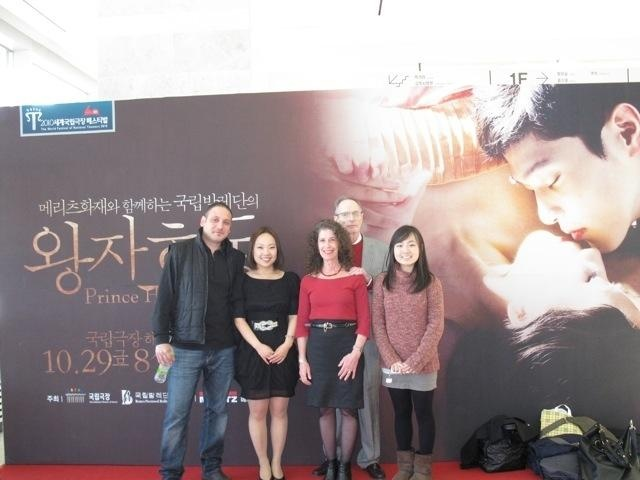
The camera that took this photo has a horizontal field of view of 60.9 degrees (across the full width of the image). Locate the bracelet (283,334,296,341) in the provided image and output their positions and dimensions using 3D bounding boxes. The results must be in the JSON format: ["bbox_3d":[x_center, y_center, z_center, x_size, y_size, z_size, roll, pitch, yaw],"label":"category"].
[{"bbox_3d":[-0.272,0.863,4.836,0.064,0.047,0.065,1,-11,7],"label":"bracelet"}]
